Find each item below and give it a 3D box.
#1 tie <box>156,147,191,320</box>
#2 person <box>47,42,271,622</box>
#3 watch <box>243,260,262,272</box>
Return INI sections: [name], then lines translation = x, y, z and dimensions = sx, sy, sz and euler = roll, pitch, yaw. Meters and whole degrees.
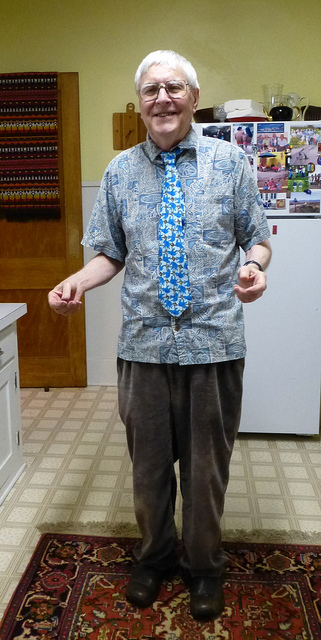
[tie]
translation = 0.030, -0.196, 1.017
dimensions = 0.072, 0.369, 0.060
euler = 0, 4, 0
[person]
translation = 0.025, 0.091, 1.115
dimensions = 0.453, 1.366, 0.406
euler = 1, 5, 13
[watch]
translation = 0.197, -0.122, 1.010
dimensions = 0.031, 0.024, 0.076
euler = 3, 6, 36
